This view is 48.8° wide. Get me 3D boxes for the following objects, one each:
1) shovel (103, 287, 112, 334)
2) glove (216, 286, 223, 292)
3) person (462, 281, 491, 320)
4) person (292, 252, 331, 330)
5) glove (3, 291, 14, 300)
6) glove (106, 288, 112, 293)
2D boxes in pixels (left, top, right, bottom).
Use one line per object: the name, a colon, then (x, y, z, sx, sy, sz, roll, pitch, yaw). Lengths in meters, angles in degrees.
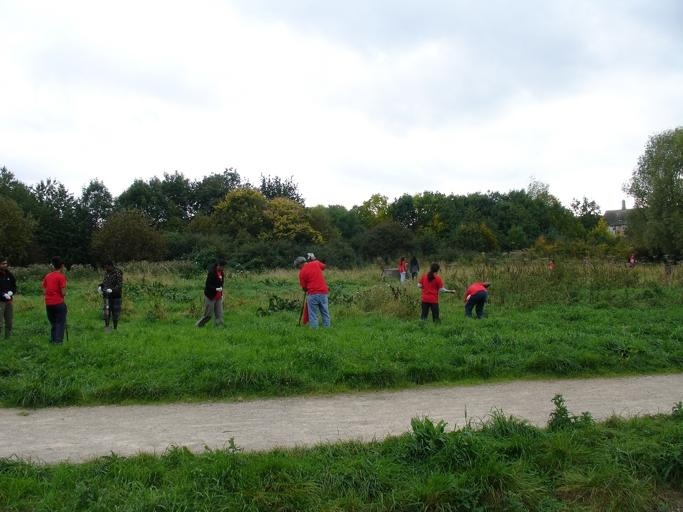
shovel: (-6.369, 1.491, 20.429, 0.185, 1.034, 0.658, -4, 11, -17)
glove: (-3.369, 0.906, 20.724, 0.112, 0.159, 0.348, 2, 5, 5)
person: (4.103, 1.292, 22.881, 0.629, 1.098, 2.073, 1, 11, 9)
person: (-0.771, 0.989, 20.586, 0.871, 2.027, 1.495, -2, 10, -6)
glove: (-8.444, 0.993, 19.159, 0.147, 0.241, 0.453, -2, 11, -7)
glove: (-6.339, 0.941, 20.519, 0.115, 0.081, 0.124, 1, 0, -6)
